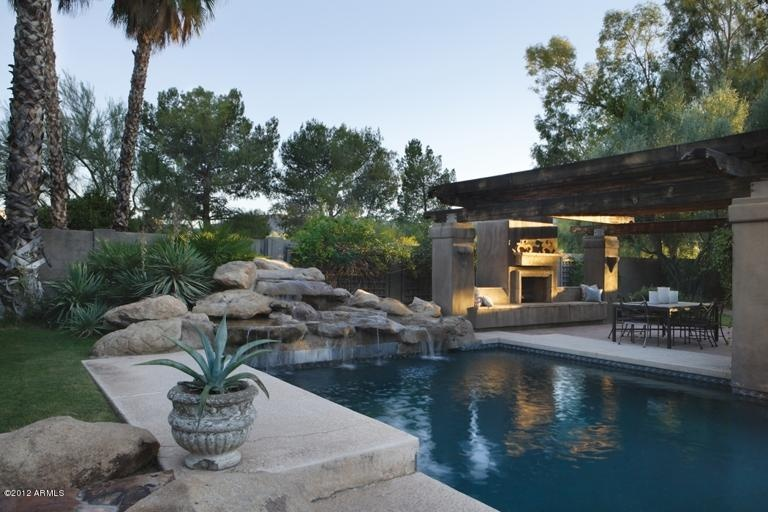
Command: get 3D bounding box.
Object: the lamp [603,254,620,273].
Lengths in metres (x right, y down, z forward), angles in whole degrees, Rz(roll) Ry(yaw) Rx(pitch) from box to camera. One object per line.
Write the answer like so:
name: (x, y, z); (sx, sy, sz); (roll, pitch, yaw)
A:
lamp: (7.882, 0.307, 18.798); (0.795, 0.584, 0.140); (-1, 1, -41)

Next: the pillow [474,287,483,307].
pillow: (2.712, 1.234, 15.735); (0.117, 0.450, 0.341); (-3, -9, 24)

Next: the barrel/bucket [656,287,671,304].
barrel/bucket: (7.046, 0.998, 13.602); (0.382, 0.445, 0.374); (-1, 4, 0)

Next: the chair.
chair: (7.170, 1.709, 13.858); (2.783, 1.129, 1.935); (-1, 0, -24)

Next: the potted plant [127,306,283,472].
potted plant: (-2.221, 1.875, 7.147); (1.672, 1.714, 1.581); (2, 1, -24)

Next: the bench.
bench: (4.817, 1.872, 16.624); (5.418, 0.829, 0.215); (-1, 1, -28)

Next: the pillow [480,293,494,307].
pillow: (2.990, 1.330, 15.780); (0.360, 0.317, 0.254); (-1, 1, 27)
